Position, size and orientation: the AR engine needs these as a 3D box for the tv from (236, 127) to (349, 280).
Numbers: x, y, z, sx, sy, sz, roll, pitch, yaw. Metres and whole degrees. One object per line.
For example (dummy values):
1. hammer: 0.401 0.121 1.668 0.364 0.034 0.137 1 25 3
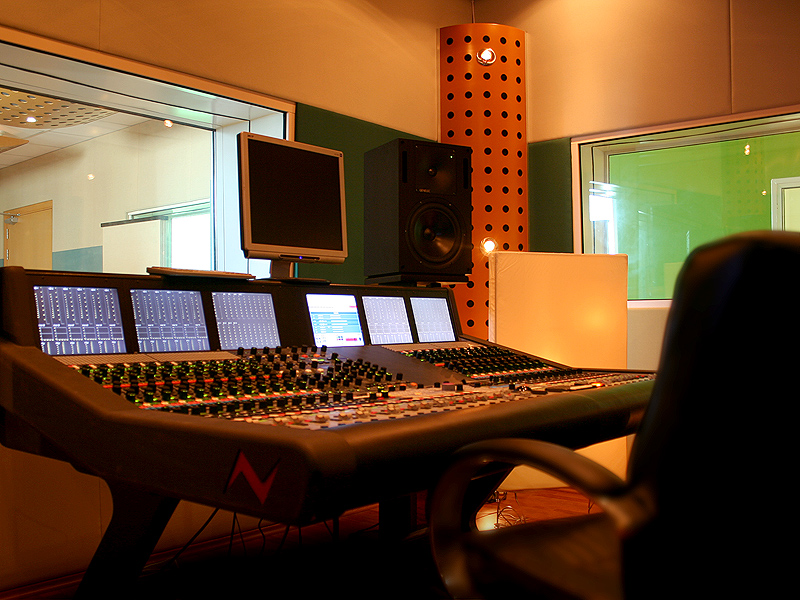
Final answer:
1. tv: -0.363 -0.345 2.299 0.432 0.415 0.057 2 -3 -44
